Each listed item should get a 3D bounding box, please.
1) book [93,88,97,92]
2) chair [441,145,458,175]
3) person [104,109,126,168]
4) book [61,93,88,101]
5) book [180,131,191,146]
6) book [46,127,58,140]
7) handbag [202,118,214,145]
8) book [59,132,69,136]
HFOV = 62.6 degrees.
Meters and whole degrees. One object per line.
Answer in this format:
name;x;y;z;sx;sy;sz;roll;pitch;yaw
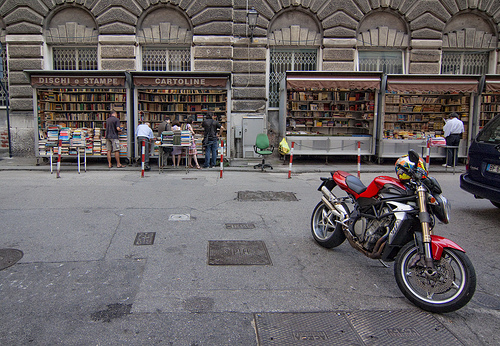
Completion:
book;-6.926;-3.808;18.624;0.141;0.153;0.159;0;4;-15
chair;8.204;-0.581;16.993;0.552;0.787;1.117;-2;8;8
person;-5.392;-1.399;16.577;0.695;2.206;1.194;-2;9;-19
book;-7.873;-3.495;18.677;1.164;0.346;0.111;0;8;-6
book;-2.522;-1.408;16.378;0.596;0.624;0.471;1;15;-3
book;-7.903;-1.637;16.672;0.356;0.510;0.239;-3;9;-23
handbag;-1.639;-1.676;16.495;0.432;1.020;0.255;0;8;-4
book;-7.335;-1.584;16.411;0.344;0.136;0.040;-2;8;-15
